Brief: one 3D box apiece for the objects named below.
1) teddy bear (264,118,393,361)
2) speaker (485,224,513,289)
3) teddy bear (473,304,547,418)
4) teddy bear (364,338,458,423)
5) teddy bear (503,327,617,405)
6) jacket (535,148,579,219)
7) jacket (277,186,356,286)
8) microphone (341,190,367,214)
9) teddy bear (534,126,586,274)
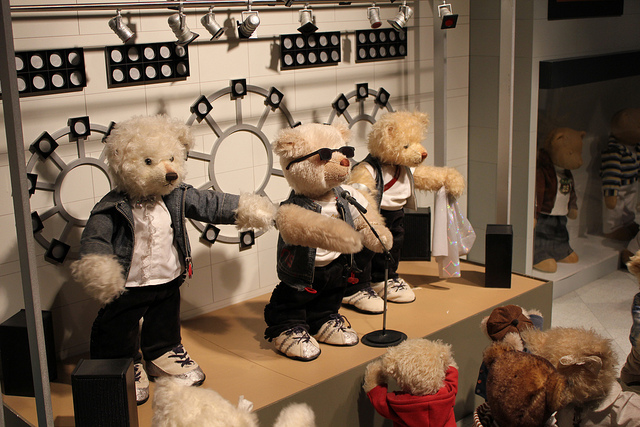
[{"bbox_3d":[0.052,0.185,2.804,0.693,1.347,0.667,11,12,43],"label":"teddy bear"},{"bbox_3d":[1.321,0.313,3.600,0.190,0.442,0.215,-2,9,20],"label":"speaker"},{"bbox_3d":[0.917,0.761,2.459,0.315,0.445,0.319,-3,-10,3],"label":"teddy bear"},{"bbox_3d":[0.462,0.874,2.501,0.341,0.427,0.295,-19,28,-17],"label":"teddy bear"},{"bbox_3d":[1.173,0.730,2.388,0.410,0.230,0.351,16,44,27],"label":"teddy bear"},{"bbox_3d":[2.124,-0.286,4.553,0.209,0.652,0.053,-7,9,-11],"label":"jacket"},{"bbox_3d":[-0.028,0.126,2.811,0.466,0.527,0.253,-6,9,-6],"label":"jacket"},{"bbox_3d":[0.177,-0.078,2.761,0.067,0.069,0.223,-32,37,-11],"label":"microphone"},{"bbox_3d":[2.279,-0.128,4.586,0.515,1.356,0.232,-9,10,-28],"label":"teddy bear"}]
